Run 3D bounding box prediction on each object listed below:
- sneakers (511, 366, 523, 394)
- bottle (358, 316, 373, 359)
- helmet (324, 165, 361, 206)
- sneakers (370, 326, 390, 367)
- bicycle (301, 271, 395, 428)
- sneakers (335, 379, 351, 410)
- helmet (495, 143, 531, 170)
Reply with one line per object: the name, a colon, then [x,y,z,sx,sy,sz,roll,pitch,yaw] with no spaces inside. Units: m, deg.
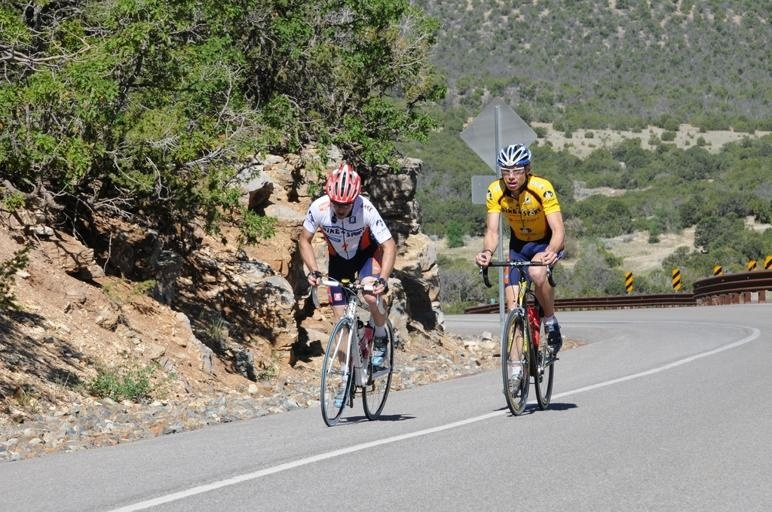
sneakers: [1.885,1.784,13.332,0.136,0.180,0.474,-1,1,11]
bottle: [-0.347,1.201,13.808,0.191,0.588,0.253,-2,-23,12]
helmet: [-0.606,-1.016,13.073,0.401,0.586,0.229,6,-22,0]
sneakers: [-0.098,1.393,14.028,0.203,0.631,0.266,-2,-16,4]
bicycle: [-0.477,1.357,13.592,0.396,2.199,1.559,4,9,35]
sneakers: [-0.623,2.007,13.382,0.194,0.393,0.105,9,-3,22]
helmet: [1.865,-1.443,13.455,0.444,0.351,0.421,-1,7,6]
